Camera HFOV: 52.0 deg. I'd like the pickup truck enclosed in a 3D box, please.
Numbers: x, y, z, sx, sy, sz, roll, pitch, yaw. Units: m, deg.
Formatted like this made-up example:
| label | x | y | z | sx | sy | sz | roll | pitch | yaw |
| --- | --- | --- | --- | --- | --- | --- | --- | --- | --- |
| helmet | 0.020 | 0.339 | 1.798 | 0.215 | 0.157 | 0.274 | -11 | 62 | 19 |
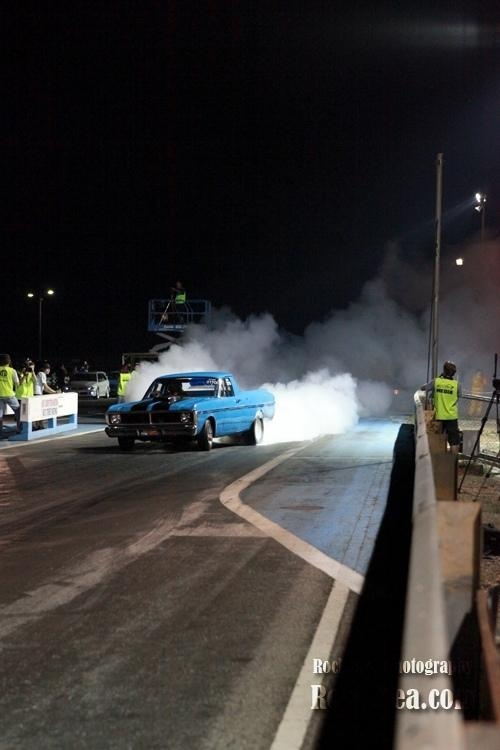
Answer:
| label | x | y | z | sx | sy | sz | roll | pitch | yaw |
| --- | --- | --- | --- | --- | --- | --- | --- | --- | --- |
| pickup truck | -1.073 | 0.910 | 12.683 | 1.803 | 1.426 | 3.536 | -2 | -4 | 20 |
